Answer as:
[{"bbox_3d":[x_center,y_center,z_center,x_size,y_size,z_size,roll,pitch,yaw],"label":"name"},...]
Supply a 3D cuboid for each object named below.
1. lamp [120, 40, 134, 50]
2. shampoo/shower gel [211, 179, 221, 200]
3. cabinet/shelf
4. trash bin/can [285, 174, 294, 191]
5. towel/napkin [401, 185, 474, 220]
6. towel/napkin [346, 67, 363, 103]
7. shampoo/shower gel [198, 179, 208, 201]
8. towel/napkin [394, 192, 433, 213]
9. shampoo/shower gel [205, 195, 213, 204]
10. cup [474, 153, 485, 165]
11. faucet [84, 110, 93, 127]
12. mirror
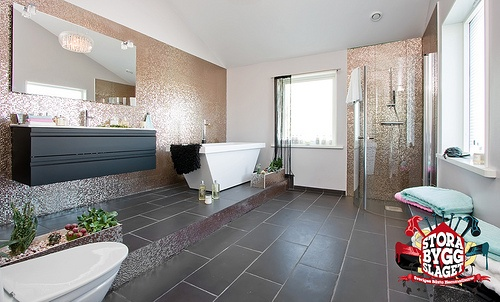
[{"bbox_3d":[-2.049,-1.737,4.559,0.173,0.069,0.168,-6,-7,-5],"label":"lamp"},{"bbox_3d":[-0.567,0.622,4.469,0.121,0.292,0.209,-4,13,-9],"label":"shampoo/shower gel"},{"bbox_3d":[-2.363,-0.014,3.973,1.712,0.832,0.462,-11,16,-39],"label":"cabinet/shelf"},{"bbox_3d":[0.830,0.648,5.851,0.185,0.299,0.114,-2,13,1],"label":"trash bin/can"},{"bbox_3d":[1.957,0.514,2.957,0.461,0.127,0.444,-1,4,-28],"label":"towel/napkin"},{"bbox_3d":[1.784,-1.107,4.710,0.156,0.594,0.358,-2,13,2],"label":"towel/napkin"},{"bbox_3d":[-0.787,0.641,4.413,0.117,0.274,0.165,-5,13,-12],"label":"shampoo/shower gel"},{"bbox_3d":[1.809,0.559,3.043,0.310,0.068,0.297,2,7,-45],"label":"towel/napkin"},{"bbox_3d":[-0.633,0.757,4.256,0.115,0.102,0.101,0,1,-5],"label":"shampoo/shower gel"},{"bbox_3d":[2.442,0.088,2.951,0.072,0.111,0.144,3,13,23],"label":"cup"},{"bbox_3d":[-2.455,-0.501,4.193,0.071,0.229,0.149,10,17,43],"label":"faucet"},{"bbox_3d":[-2.643,-1.395,4.030,0.045,1.251,1.985,-2,-2,43],"label":"mirror"}]
